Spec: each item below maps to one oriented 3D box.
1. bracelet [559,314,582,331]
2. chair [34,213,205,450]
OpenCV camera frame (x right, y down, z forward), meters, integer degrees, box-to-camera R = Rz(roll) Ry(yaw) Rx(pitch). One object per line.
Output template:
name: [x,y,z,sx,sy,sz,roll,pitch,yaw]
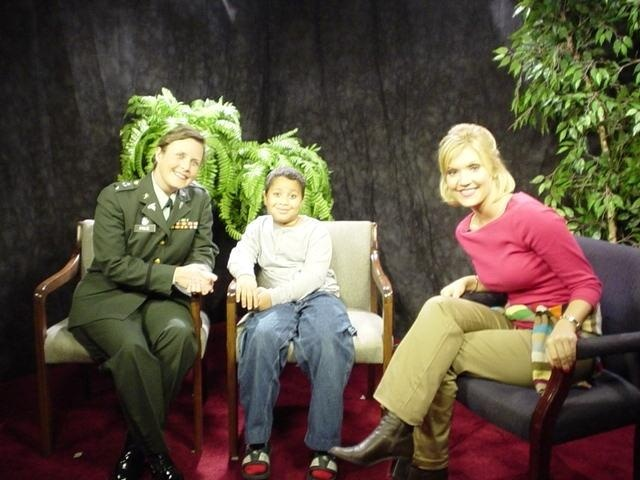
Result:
bracelet: [1.094,0.360,2.375,0.085,0.059,0.048,2,5,20]
chair: [-1.088,0.498,3.115,0.789,1.187,0.715,1,8,-4]
